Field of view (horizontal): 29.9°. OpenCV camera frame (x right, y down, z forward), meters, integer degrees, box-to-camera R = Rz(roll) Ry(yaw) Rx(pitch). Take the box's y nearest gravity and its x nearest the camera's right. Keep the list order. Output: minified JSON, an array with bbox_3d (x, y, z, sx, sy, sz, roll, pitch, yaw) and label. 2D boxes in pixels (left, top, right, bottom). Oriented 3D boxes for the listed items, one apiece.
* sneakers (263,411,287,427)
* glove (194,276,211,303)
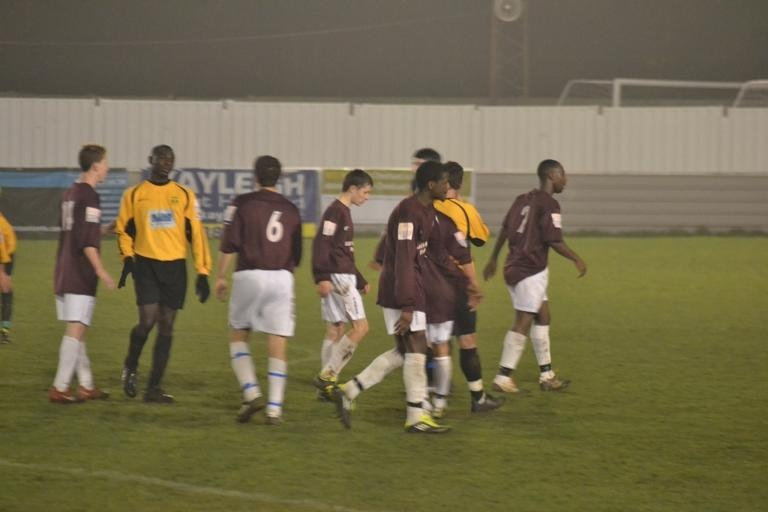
[{"bbox_3d":[-2.554,3.839,33.418,0.410,0.264,0.210,-3,9,-26],"label":"sneakers"},{"bbox_3d":[-4.365,0.794,33.867,0.206,0.630,0.486,-3,0,34],"label":"glove"}]
